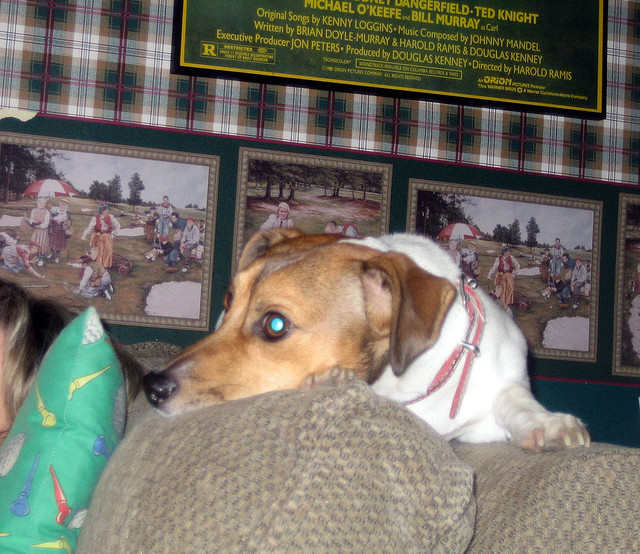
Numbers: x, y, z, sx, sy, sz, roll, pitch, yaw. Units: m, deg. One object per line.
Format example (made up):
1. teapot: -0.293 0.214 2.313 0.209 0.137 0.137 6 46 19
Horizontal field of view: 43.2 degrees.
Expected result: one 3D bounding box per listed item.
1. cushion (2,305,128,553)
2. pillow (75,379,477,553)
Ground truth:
1. cushion: -0.737 0.461 2.307 0.342 0.554 0.657 -6 -1 -14
2. pillow: -0.095 0.480 1.955 0.650 0.219 0.575 -3 37 2
